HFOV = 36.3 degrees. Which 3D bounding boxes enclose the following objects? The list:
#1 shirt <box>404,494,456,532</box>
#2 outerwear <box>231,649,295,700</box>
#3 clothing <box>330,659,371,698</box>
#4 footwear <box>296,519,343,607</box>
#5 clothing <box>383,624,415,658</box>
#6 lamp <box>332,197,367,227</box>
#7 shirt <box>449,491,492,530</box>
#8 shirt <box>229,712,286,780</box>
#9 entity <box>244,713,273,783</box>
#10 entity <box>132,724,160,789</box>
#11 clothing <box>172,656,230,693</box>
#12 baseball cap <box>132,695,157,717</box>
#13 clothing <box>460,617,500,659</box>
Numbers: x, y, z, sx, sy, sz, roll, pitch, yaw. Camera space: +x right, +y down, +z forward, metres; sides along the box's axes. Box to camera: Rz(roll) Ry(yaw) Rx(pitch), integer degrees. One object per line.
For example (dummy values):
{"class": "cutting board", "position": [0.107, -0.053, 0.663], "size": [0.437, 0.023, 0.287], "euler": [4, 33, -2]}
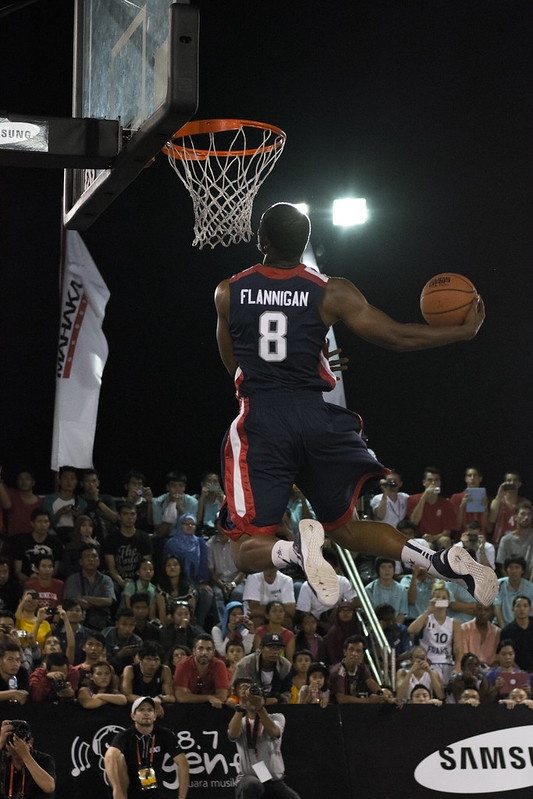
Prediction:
{"class": "shirt", "position": [1.918, 1.349, 9.594], "size": [0.551, 0.456, 0.262], "euler": [-2, 0, 1]}
{"class": "outerwear", "position": [-0.023, 2.112, 6.225], "size": [0.520, 0.419, 0.273], "euler": [3, 4, -13]}
{"class": "clothing", "position": [0.669, 2.264, 6.594], "size": [0.428, 0.337, 0.219], "euler": [1, -9, -6]}
{"class": "footwear", "position": [0.184, 0.639, 3.234], "size": [0.143, 0.373, 0.109], "euler": [-11, -25, -30]}
{"class": "clothing", "position": [1.217, 2.228, 7.496], "size": [0.226, 0.206, 0.115], "euler": [-16, -33, -14]}
{"class": "lamp", "position": [1.239, -2.721, 11.870], "size": [0.515, 0.408, 0.112], "euler": [4, 18, 15]}
{"class": "shirt", "position": [2.425, 1.332, 9.628], "size": [0.518, 0.565, 0.343], "euler": [0, 31, 8]}
{"class": "shirt", "position": [-0.169, 2.300, 5.419], "size": [0.448, 0.457, 0.374], "euler": [2, -24, -8]}
{"class": "entity", "position": [-0.047, 2.294, 5.348], "size": [0.233, 0.340, 0.094], "euler": [-10, -10, 30]}
{"class": "entity", "position": [-0.756, 2.292, 5.154], "size": [0.134, 0.315, 0.100], "euler": [0, -16, -12]}
{"class": "clothing", "position": [-0.486, 1.978, 6.140], "size": [0.480, 0.324, 0.238], "euler": [1, 2, -3]}
{"class": "baseball cap", "position": [-0.803, 1.994, 5.299], "size": [0.158, 0.110, 0.213], "euler": [0, -14, -9]}
{"class": "clothing", "position": [2.012, 2.258, 7.655], "size": [0.383, 0.346, 0.205], "euler": [4, -21, -6]}
